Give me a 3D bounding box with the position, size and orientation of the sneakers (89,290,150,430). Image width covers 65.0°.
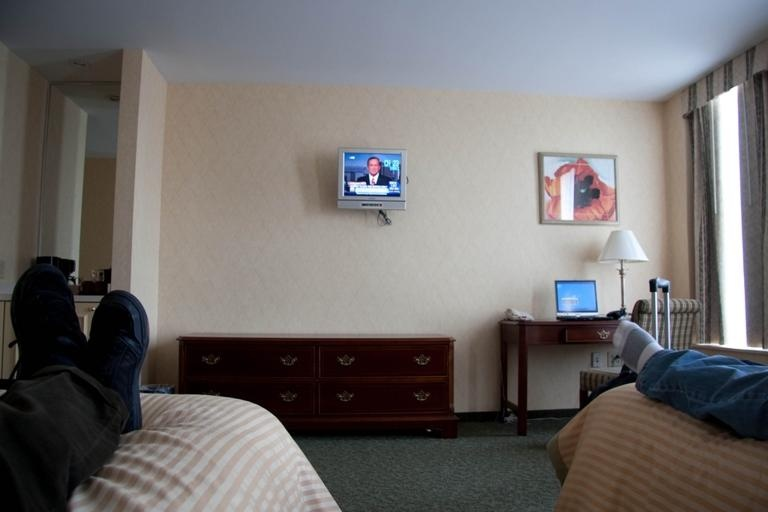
[{"bbox_3d":[-1.325,0.463,2.990,0.247,0.705,0.282,-9,-4,11],"label":"sneakers"}]

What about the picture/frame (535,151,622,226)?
[{"bbox_3d":[1.681,-0.584,5.325,0.653,0.554,0.025,1,-5,-11],"label":"picture/frame"}]

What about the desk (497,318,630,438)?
[{"bbox_3d":[1.649,0.962,4.967,1.194,0.913,0.496,1,-1,-2],"label":"desk"}]

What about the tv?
[{"bbox_3d":[-0.097,-0.644,5.032,0.494,0.419,0.165,0,-3,-2],"label":"tv"}]

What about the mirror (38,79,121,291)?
[{"bbox_3d":[-2.450,-0.630,4.907,0.640,1.569,0.344,1,5,8],"label":"mirror"}]

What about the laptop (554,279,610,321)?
[{"bbox_3d":[1.655,0.375,5.106,0.340,0.299,0.044,1,-14,-3],"label":"laptop"}]

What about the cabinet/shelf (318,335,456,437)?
[{"bbox_3d":[0.046,1.025,4.852,1.128,0.744,0.434,-3,-4,13],"label":"cabinet/shelf"}]
